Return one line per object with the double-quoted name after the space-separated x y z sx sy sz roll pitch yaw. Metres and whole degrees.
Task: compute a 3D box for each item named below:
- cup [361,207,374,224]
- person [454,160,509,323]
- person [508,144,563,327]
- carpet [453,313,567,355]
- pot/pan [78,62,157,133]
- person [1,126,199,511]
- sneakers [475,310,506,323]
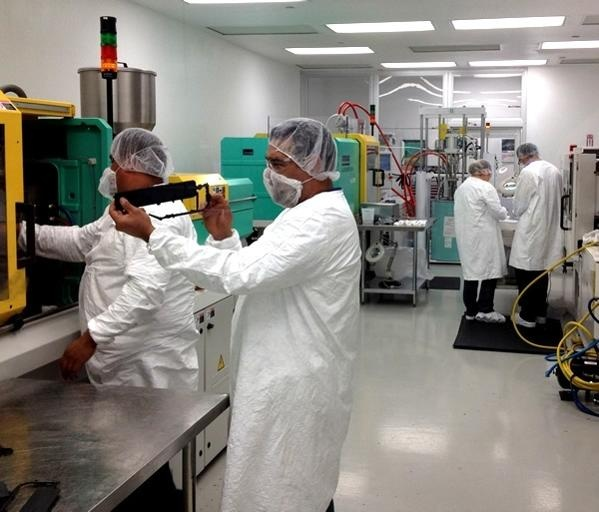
0.739 -0.422 5.531 0.142 0.249 0.147 -1 -1 0 "cup"
1.780 -0.140 4.973 0.520 1.543 0.371 2 9 20 "person"
2.179 -0.160 4.629 0.439 1.669 0.566 3 9 21 "person"
1.894 0.706 4.573 0.890 0.042 1.061 4 11 25 "carpet"
-0.968 -0.771 2.755 0.324 0.431 0.364 0 3 -6 "pot/pan"
-0.903 0.097 2.585 0.941 2.177 0.947 3 2 -1 "person"
1.872 0.603 4.962 0.198 0.107 0.133 -2 1 10 "sneakers"
